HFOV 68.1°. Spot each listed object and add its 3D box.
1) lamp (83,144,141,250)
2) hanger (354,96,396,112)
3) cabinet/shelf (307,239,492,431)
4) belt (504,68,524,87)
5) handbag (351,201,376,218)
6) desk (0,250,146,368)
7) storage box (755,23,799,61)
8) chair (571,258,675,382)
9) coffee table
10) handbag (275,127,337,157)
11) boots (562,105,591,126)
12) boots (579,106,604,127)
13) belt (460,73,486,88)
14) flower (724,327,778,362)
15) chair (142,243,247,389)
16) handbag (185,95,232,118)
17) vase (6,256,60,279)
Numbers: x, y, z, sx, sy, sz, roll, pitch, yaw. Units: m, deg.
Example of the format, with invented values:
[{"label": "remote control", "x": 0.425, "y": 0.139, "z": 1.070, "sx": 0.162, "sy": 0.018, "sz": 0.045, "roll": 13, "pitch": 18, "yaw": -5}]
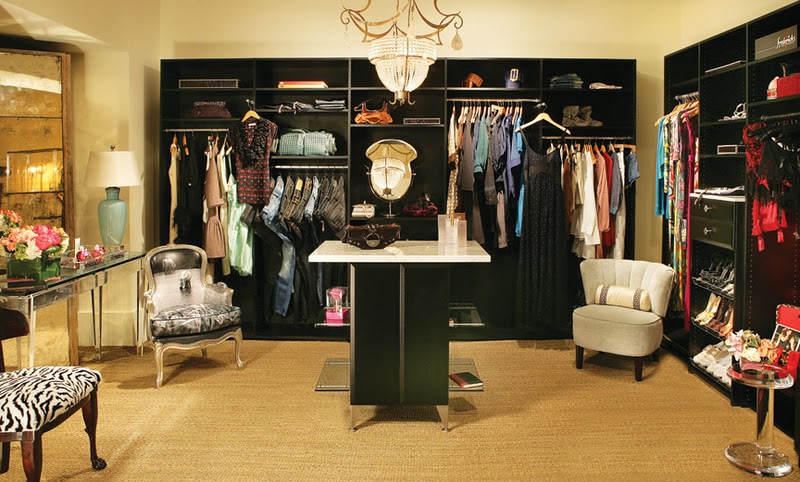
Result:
[{"label": "lamp", "x": -3.268, "y": -0.515, "z": 6.773, "sx": 0.534, "sy": 1.156, "sz": 0.572, "roll": -3, "pitch": 7, "yaw": -23}, {"label": "hanger", "x": -0.327, "y": -1.722, "z": 7.419, "sx": 0.471, "sy": 0.158, "sz": 0.337, "roll": -4, "pitch": 6, "yaw": -31}, {"label": "cabinet/shelf", "x": -0.019, "y": 0.618, "z": 6.091, "sx": 2.353, "sy": 2.004, "sz": 1.526, "roll": 0, "pitch": 6, "yaw": 1}, {"label": "belt", "x": 1.401, "y": -2.009, "z": 7.327, "sx": 0.241, "sy": 0.285, "sz": 0.227, "roll": 9, "pitch": 11, "yaw": 15}, {"label": "handbag", "x": -0.461, "y": -0.380, "z": 7.306, "sx": 0.282, "sy": 0.177, "sz": 0.269, "roll": -1, "pitch": 6, "yaw": -4}, {"label": "desk", "x": -3.413, "y": 0.698, "z": 6.123, "sx": 0.505, "sy": 0.752, "sz": 1.309, "roll": 2, "pitch": 6, "yaw": 4}, {"label": "storage box", "x": 3.503, "y": -1.846, "z": 5.524, "sx": 0.290, "sy": 0.170, "sz": 0.403, "roll": 0, "pitch": 0, "yaw": -30}, {"label": "chair", "x": 2.464, "y": 0.827, "z": 6.883, "sx": 1.316, "sy": 1.257, "sz": 1.261, "roll": 1, "pitch": 0, "yaw": 30}, {"label": "coffee table", "x": 3.041, "y": 1.450, "z": 5.008, "sx": 0.513, "sy": 0.904, "sz": 0.413, "roll": 1, "pitch": 7, "yaw": 17}, {"label": "handbag", "x": -1.148, "y": -1.215, "z": 7.280, "sx": 0.531, "sy": 0.232, "sz": 0.371, "roll": 1, "pitch": 4, "yaw": 3}, {"label": "boots", "x": 2.197, "y": -1.556, "z": 7.372, "sx": 0.343, "sy": 0.265, "sz": 0.323, "roll": 1, "pitch": 7, "yaw": 15}, {"label": "boots", "x": 2.415, "y": -1.531, "z": 7.316, "sx": 0.398, "sy": 0.279, "sz": 0.198, "roll": 0, "pitch": 6, "yaw": 18}, {"label": "belt", "x": 0.897, "y": -1.968, "z": 7.364, "sx": 0.203, "sy": 0.251, "sz": 0.192, "roll": 22, "pitch": 11, "yaw": 7}, {"label": "flower", "x": 2.944, "y": 0.884, "z": 5.062, "sx": 0.324, "sy": 0.283, "sz": 0.141, "roll": 2, "pitch": 0, "yaw": -3}, {"label": "chair", "x": -2.259, "y": 0.753, "z": 6.466, "sx": 0.960, "sy": 1.387, "sz": 0.636, "roll": -3, "pitch": 7, "yaw": -22}, {"label": "handbag", "x": -2.413, "y": -1.666, "z": 7.460, "sx": 0.548, "sy": 0.278, "sz": 0.405, "roll": -2, "pitch": 6, "yaw": -10}, {"label": "vase", "x": -3.508, "y": 0.257, "z": 5.670, "sx": 0.275, "sy": 0.150, "sz": 0.260, "roll": 0, "pitch": -1, "yaw": 3}]
